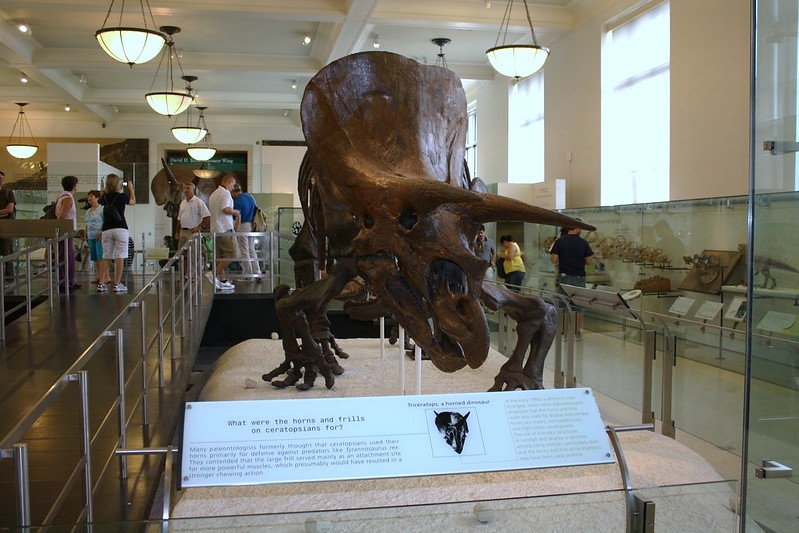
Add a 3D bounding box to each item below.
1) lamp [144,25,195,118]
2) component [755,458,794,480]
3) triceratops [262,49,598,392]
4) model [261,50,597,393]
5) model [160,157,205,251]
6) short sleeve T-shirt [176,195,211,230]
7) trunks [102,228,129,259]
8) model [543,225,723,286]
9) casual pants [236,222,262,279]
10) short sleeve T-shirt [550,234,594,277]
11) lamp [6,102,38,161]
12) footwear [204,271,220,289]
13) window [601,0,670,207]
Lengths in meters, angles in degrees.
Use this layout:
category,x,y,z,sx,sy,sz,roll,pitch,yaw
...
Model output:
category,x,y,z,sx,sy,sz,roll,pitch,yaw
lamp,-4.605,-3.917,11.540,0.896,1.813,0.864,-1,3,-31
component,1.681,0.918,2.578,0.101,0.036,0.099,0,1,1
triceratops,0.157,-0.461,3.967,1.684,1.879,2.843,-2,11,-18
model,0.290,-0.397,4.034,1.687,1.879,2.840,-2,11,-18
model,-5.093,-1.629,13.212,0.493,0.879,1.242,9,15,-47
short sleeve T-shirt,-3.491,-0.907,9.630,0.662,0.570,0.322,2,5,19
trunks,-4.193,-0.350,8.462,0.450,0.467,0.277,1,-3,-1
model,2.991,-0.113,7.395,0.625,0.776,2.117,-1,9,-40
casual pants,-2.695,-0.270,10.280,0.281,0.949,0.371,-10,-33,-15
short sleeve T-shirt,2.365,-0.148,7.786,0.578,0.531,0.306,2,14,23
lamp,-10.548,-3.785,15.972,0.762,1.547,2.676,-7,10,-31
footwear,-3.173,0.238,9.744,0.182,0.222,0.532,-6,13,-42
window,3.958,-2.658,9.741,0.403,3.209,1.521,-4,8,-14
